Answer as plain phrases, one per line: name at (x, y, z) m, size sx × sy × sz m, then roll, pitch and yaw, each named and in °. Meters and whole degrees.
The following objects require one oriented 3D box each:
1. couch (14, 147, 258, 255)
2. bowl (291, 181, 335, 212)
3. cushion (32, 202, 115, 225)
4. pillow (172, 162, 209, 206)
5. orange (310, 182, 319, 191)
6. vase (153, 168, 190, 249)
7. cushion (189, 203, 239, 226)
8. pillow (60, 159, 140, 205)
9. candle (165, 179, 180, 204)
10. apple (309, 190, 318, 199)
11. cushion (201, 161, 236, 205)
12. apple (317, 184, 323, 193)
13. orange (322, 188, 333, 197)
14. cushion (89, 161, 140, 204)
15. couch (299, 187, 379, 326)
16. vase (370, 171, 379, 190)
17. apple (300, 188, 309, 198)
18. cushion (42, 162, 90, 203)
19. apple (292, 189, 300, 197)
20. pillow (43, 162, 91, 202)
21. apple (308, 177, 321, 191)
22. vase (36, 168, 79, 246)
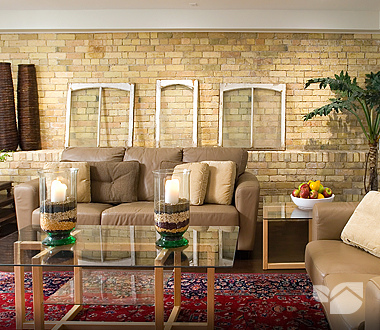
couch at (-0.443, 0.330, 3.903) m, size 2.387 × 0.805 × 0.873 m, roll 0°, pitch 19°, yaw 11°
bowl at (1.119, 0.281, 3.464) m, size 0.448 × 0.216 × 0.390 m, roll 4°, pitch 10°, yaw 20°
cushion at (-0.892, 0.378, 2.841) m, size 0.433 × 0.170 × 0.267 m, roll 0°, pitch 1°, yaw 2°
pillow at (0.017, 0.168, 3.375) m, size 0.430 × 0.362 × 0.172 m, roll -2°, pitch -6°, yaw 34°
orange at (1.132, 0.192, 3.369) m, size 0.072 × 0.056 × 0.066 m, roll 11°, pitch -17°, yaw -25°
vase at (-0.105, 0.253, 2.231) m, size 0.217 × 0.462 × 0.208 m, roll -2°, pitch 10°, yaw -5°
cushion at (0.227, 0.478, 3.454) m, size 0.458 × 0.150 × 0.412 m, roll -1°, pitch 8°, yaw -6°
pillow at (-0.822, 0.141, 3.907) m, size 0.642 × 0.467 × 0.186 m, roll -8°, pitch -32°, yaw 16°
candle at (-0.096, 0.151, 2.140) m, size 0.088 × 0.138 × 0.048 m, roll -2°, pitch 10°, yaw -6°
apple at (1.110, 0.261, 3.318) m, size 0.080 × 0.063 × 0.027 m, roll -7°, pitch -20°, yaw 3°
cushion at (0.353, 0.208, 3.859) m, size 0.223 × 0.466 × 0.556 m, roll 10°, pitch -1°, yaw -11°
apple at (1.190, 0.223, 3.377) m, size 0.032 × 0.049 × 0.041 m, roll 19°, pitch -12°, yaw 25°
orange at (1.269, 0.254, 3.427) m, size 0.086 × 0.071 × 0.098 m, roll 3°, pitch 14°, yaw 34°
cushion at (-0.811, 0.166, 3.703) m, size 0.650 × 0.384 × 0.156 m, roll -3°, pitch -5°, yaw 1°
couch at (0.942, 0.591, 2.362) m, size 0.430 × 0.314 × 0.908 m, roll 2°, pitch 10°, yaw 13°
vase at (2.165, 0.183, 4.359) m, size 0.057 × 0.232 × 0.092 m, roll -7°, pitch 12°, yaw -32°
apple at (1.020, 0.251, 3.324) m, size 0.093 × 0.070 × 0.047 m, roll 2°, pitch -15°, yaw 19°
cushion at (-1.322, 0.185, 3.841) m, size 0.622 × 0.444 × 0.195 m, roll -4°, pitch -9°, yaw -2°
apple at (0.999, 0.261, 3.501) m, size 0.088 × 0.081 × 0.079 m, roll 8°, pitch 1°, yaw 11°
pillow at (-0.883, 0.130, 2.729) m, size 0.508 × 0.353 × 0.154 m, roll 0°, pitch -3°, yaw 1°
apple at (1.163, 0.191, 3.453) m, size 0.114 × 0.130 × 0.102 m, roll 14°, pitch -32°, yaw -4°
vase at (-0.805, 0.244, 2.301) m, size 0.234 × 0.461 × 0.295 m, roll -4°, pitch 10°, yaw -20°
